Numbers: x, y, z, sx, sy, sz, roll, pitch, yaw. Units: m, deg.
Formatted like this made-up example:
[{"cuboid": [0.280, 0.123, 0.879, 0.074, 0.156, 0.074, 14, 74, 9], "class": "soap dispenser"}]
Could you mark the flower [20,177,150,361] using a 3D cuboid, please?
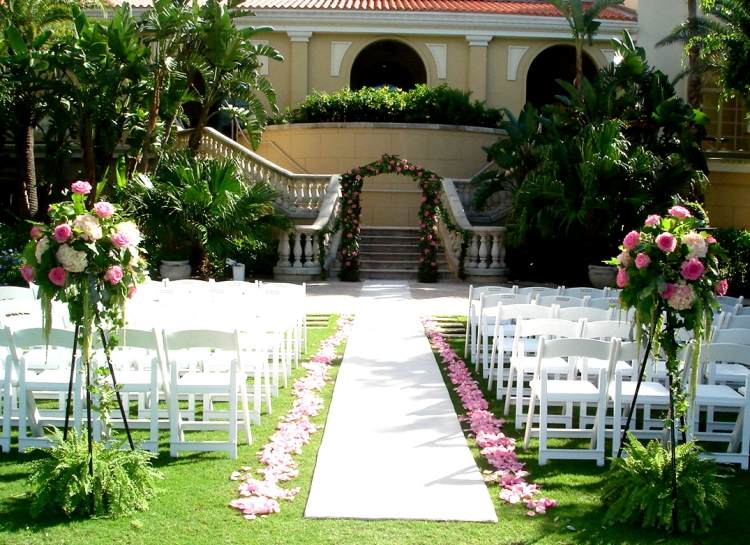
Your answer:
[{"cuboid": [-2.653, 0.067, 6.780, 0.522, 0.921, 0.549, 13, -6, 6], "class": "flower"}]

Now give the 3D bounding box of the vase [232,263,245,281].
[{"cuboid": [-2.726, -0.010, 15.932, 0.270, 0.352, 0.293, 0, 3, -5], "class": "vase"}]

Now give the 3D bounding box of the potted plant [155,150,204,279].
[{"cuboid": [-3.825, -1.019, 15.654, 1.022, 2.397, 1.421, -3, 12, -17], "class": "potted plant"}]
